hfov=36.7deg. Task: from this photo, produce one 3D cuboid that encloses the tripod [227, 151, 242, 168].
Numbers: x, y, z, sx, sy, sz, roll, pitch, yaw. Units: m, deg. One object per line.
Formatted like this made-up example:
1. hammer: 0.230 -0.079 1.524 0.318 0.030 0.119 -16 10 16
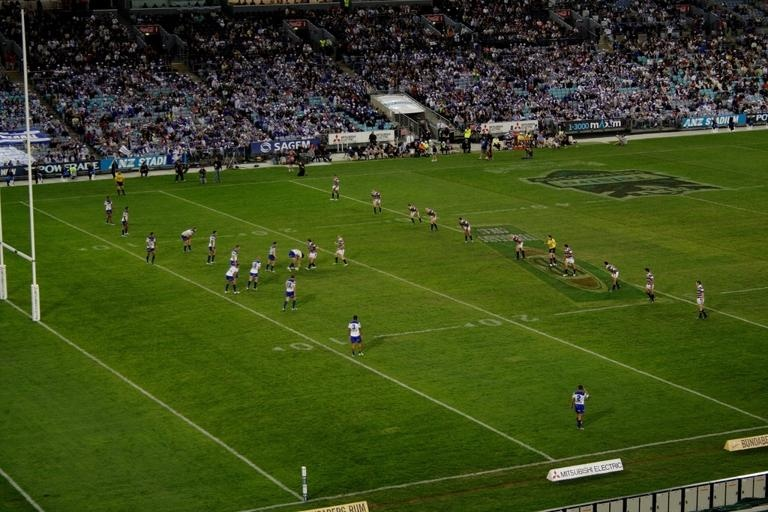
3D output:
1. tripod: -14.615 -9.172 111.102 1.128 0.712 2.042 -1 58 -1
